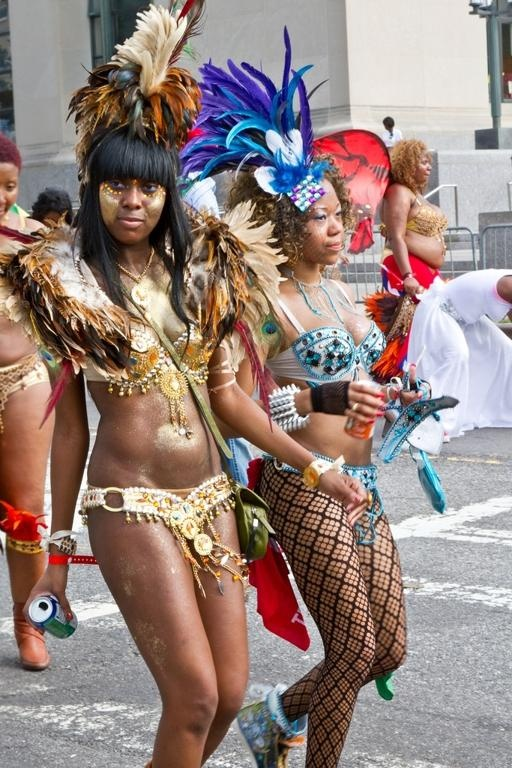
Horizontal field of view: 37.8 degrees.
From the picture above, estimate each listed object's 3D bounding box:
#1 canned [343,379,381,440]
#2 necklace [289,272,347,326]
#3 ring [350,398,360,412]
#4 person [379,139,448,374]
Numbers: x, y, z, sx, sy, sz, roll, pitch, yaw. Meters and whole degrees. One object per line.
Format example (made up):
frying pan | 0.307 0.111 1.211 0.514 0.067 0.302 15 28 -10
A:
canned | 0.316 0.077 1.995 0.108 0.149 0.137 9 18 27
necklace | 0.176 -0.267 2.405 0.148 0.177 0.061 -10 -32 -39
ring | 0.254 0.057 1.934 0.026 0.023 0.025 6 7 -1
person | 1.794 -1.452 8.872 0.871 2.697 1.239 3 17 15
